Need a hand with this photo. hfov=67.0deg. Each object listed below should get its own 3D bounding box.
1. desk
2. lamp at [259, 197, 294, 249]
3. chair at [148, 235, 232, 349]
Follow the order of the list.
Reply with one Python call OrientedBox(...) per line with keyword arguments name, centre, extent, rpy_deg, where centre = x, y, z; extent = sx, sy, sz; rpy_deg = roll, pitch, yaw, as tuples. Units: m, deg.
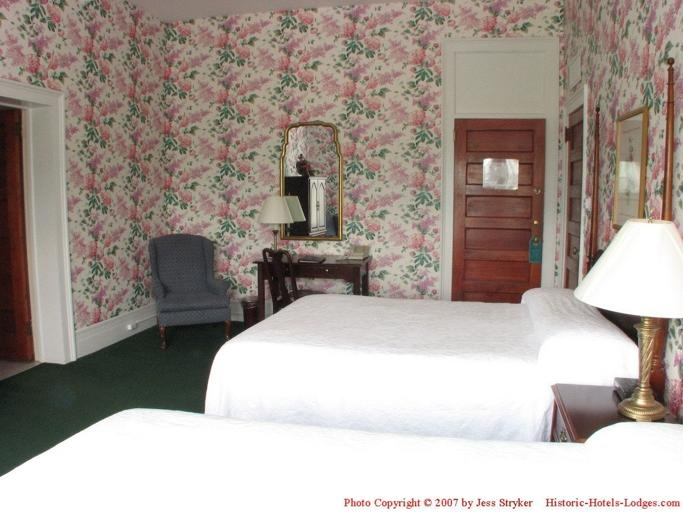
OrientedBox(name="desk", centre=(-0.392, 0.385, 5.356), extent=(0.975, 0.754, 0.578), rpy_deg=(2, -12, 32))
OrientedBox(name="lamp", centre=(-0.661, -0.259, 5.296), extent=(0.373, 0.680, 0.395), rpy_deg=(-5, -16, -7))
OrientedBox(name="chair", centre=(-1.608, 0.311, 5.347), extent=(0.773, 1.072, 0.900), rpy_deg=(-5, 5, -38))
